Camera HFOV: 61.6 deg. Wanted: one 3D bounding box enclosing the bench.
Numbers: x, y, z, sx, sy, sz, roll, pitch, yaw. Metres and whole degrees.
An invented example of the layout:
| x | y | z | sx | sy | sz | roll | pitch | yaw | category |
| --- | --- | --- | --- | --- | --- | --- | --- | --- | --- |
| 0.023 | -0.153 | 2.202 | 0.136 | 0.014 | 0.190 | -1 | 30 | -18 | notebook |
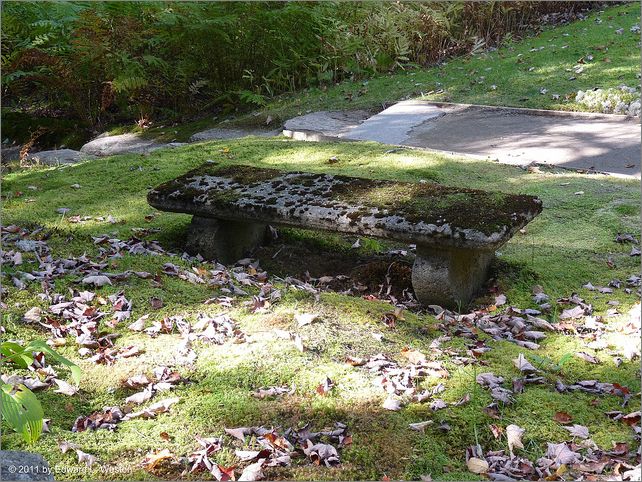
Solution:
| x | y | z | sx | sy | sz | roll | pitch | yaw | category |
| --- | --- | --- | --- | --- | --- | --- | --- | --- | --- |
| 0.160 | -0.055 | 3.995 | 2.510 | 0.794 | 0.690 | 7 | 25 | 24 | bench |
